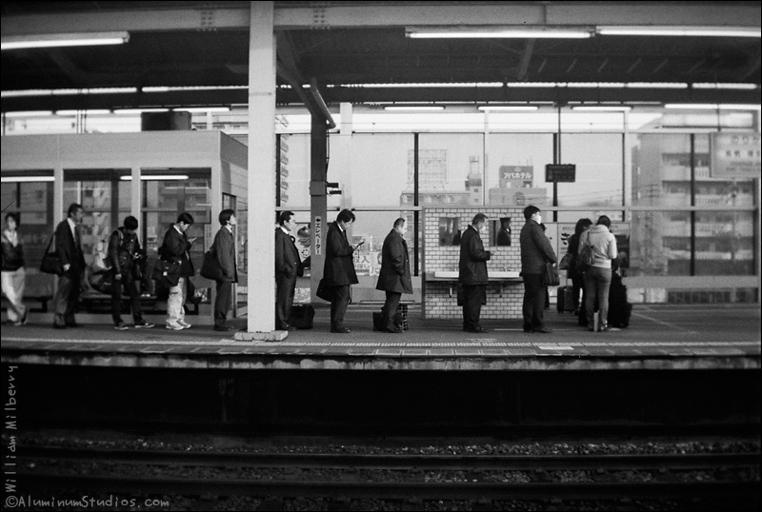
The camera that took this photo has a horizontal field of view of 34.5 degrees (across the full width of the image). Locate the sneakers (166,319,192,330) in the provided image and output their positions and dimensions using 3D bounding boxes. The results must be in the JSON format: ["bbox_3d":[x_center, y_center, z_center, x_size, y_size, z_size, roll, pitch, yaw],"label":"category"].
[{"bbox_3d":[-4.152,1.400,25.041,0.554,0.262,0.200,0,-1,-10],"label":"sneakers"}]

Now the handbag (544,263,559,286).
[{"bbox_3d":[3.410,0.365,24.812,0.452,0.541,0.201,1,-2,-30],"label":"handbag"}]

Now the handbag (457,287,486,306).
[{"bbox_3d":[1.932,0.932,26.032,0.729,0.531,0.407,0,5,-1],"label":"handbag"}]

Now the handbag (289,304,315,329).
[{"bbox_3d":[-1.627,1.227,25.526,0.552,0.543,0.463,2,4,20],"label":"handbag"}]

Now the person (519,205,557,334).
[{"bbox_3d":[3.154,0.250,25.000,0.694,2.621,0.554,1,-1,6],"label":"person"}]

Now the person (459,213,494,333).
[{"bbox_3d":[1.885,0.334,25.204,0.605,2.463,0.419,1,-1,3],"label":"person"}]

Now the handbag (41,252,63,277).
[{"bbox_3d":[-6.682,0.145,25.016,0.508,0.766,0.405,1,0,-5],"label":"handbag"}]

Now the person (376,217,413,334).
[{"bbox_3d":[0.254,0.391,24.925,0.663,2.332,0.425,1,-1,-1],"label":"person"}]

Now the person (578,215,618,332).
[{"bbox_3d":[4.428,0.354,25.129,0.685,2.387,0.575,1,-1,7],"label":"person"}]

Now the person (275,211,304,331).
[{"bbox_3d":[-1.989,0.294,25.125,0.363,2.401,0.579,0,-1,31],"label":"person"}]

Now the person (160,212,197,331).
[{"bbox_3d":[-4.188,0.307,24.945,0.700,2.374,0.414,1,-1,-20],"label":"person"}]

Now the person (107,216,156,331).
[{"bbox_3d":[-5.203,0.347,25.188,0.964,2.301,0.568,1,-1,-33],"label":"person"}]

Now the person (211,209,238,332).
[{"bbox_3d":[-3.180,0.269,24.825,0.470,2.462,0.398,1,-1,-18],"label":"person"}]

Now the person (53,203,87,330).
[{"bbox_3d":[-6.377,0.189,25.059,0.329,2.529,0.661,0,-2,44],"label":"person"}]

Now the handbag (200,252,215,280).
[{"bbox_3d":[-3.501,0.173,24.772,0.183,0.529,0.372,1,-4,-12],"label":"handbag"}]

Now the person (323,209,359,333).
[{"bbox_3d":[-0.908,0.308,24.778,0.749,2.479,0.674,1,-1,-18],"label":"person"}]
